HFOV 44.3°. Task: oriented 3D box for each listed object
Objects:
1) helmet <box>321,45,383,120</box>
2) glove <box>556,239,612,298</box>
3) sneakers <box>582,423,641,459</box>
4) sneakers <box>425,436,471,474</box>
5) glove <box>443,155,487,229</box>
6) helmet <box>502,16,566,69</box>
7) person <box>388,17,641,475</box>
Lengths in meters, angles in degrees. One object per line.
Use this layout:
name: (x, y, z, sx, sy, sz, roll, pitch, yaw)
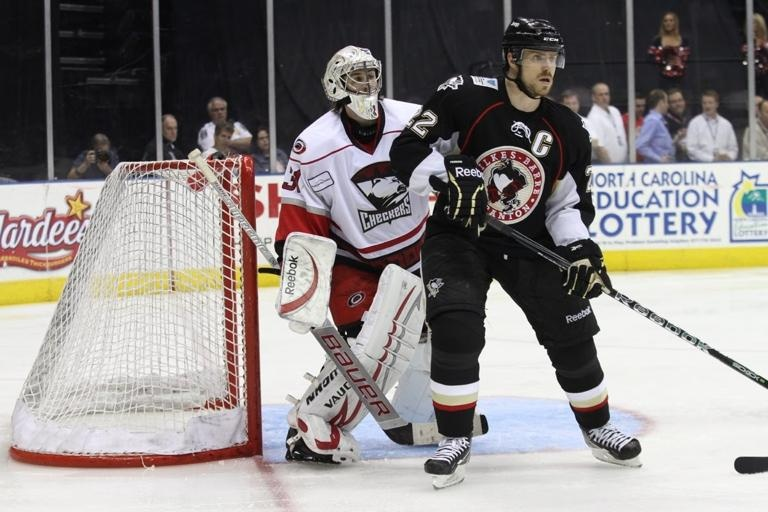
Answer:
helmet: (-0.204, -0.863, 4.724, 0.305, 0.364, 0.385, -12, 7, -28)
glove: (0.893, 0.062, 4.210, 0.230, 0.263, 0.109, -1, 9, 10)
sneakers: (1.035, 0.862, 4.415, 0.108, 0.137, 0.316, -32, 8, -22)
sneakers: (0.286, 0.890, 4.187, 0.115, 0.131, 0.242, 3, 10, 33)
glove: (0.357, -0.268, 4.133, 0.182, 0.342, 0.108, -1, 9, 5)
helmet: (0.672, -0.990, 4.334, 0.273, 0.233, 0.216, 0, 1, 37)
person: (0.566, -0.043, 4.253, 0.984, 2.038, 0.445, -4, 9, -10)
